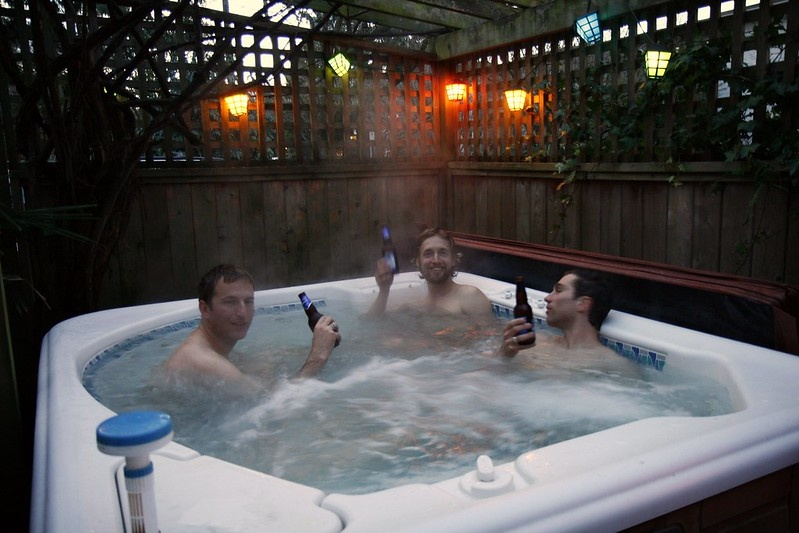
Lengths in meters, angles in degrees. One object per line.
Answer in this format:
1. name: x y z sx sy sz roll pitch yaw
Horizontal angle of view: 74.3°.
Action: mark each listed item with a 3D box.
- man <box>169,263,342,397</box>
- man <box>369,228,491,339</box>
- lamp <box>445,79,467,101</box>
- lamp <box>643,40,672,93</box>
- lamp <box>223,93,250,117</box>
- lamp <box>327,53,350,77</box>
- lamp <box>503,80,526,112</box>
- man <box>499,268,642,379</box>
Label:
1. man: -0.838 0.330 2.998 0.977 0.672 0.768 2 11 0
2. man: 0.210 0.147 3.896 1.001 1.040 0.580 -6 -8 24
3. lamp: 0.622 -1.978 5.898 0.198 0.230 0.206 6 15 33
4. lamp: 2.000 -1.591 4.069 0.189 0.362 0.368 2 13 26
5. lamp: -1.568 -1.569 5.086 0.217 0.195 0.325 -5 12 -5
6. lamp: -0.637 -2.091 5.407 0.223 0.211 0.152 -3 12 5
7. lamp: 1.151 -1.727 5.294 0.243 0.348 0.242 -2 19 12
8. man: 1.095 0.345 3.233 0.408 0.644 1.047 12 0 2
